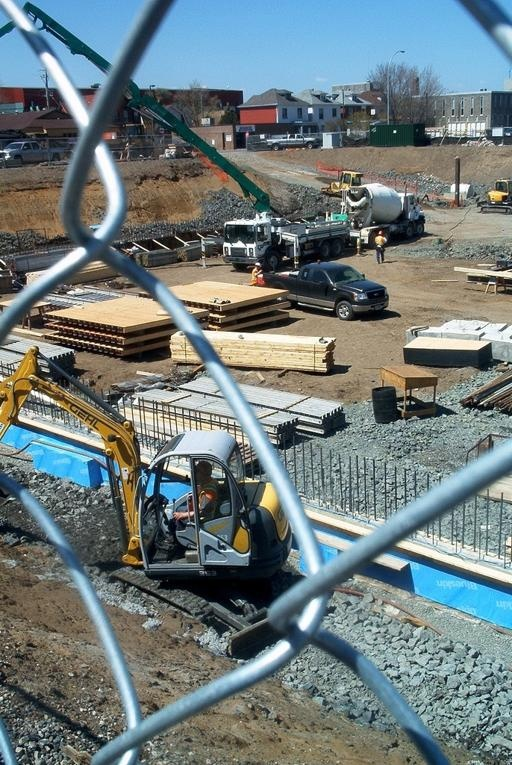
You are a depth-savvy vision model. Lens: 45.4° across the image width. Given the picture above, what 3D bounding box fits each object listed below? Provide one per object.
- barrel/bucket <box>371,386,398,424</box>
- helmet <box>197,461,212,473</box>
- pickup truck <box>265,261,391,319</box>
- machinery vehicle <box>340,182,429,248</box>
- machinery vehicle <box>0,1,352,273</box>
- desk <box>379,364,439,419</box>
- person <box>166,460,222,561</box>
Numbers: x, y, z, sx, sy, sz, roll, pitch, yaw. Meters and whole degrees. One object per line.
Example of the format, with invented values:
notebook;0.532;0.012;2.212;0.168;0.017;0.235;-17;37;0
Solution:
barrel/bucket;2.715;0.462;12.824;0.610;0.748;0.273;-1;8;-6
helmet;-0.649;1.074;7.820;0.189;0.184;0.143;2;3;37
pickup truck;2.569;-3.213;21.416;3.886;1.605;1.809;17;33;35
machinery vehicle;5.993;-8.986;32.756;2.367;3.119;6.238;19;29;42
machinery vehicle;-3.161;-10.393;27.634;9.875;10.471;17.449;6;10;38
desk;3.295;0.213;13.247;0.816;0.990;1.126;-6;15;-17
person;-0.771;1.710;8.215;0.803;1.277;0.537;-5;7;7
